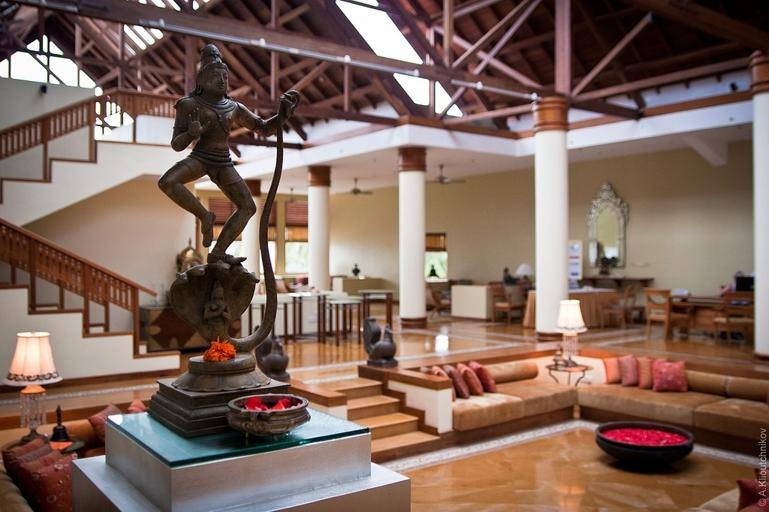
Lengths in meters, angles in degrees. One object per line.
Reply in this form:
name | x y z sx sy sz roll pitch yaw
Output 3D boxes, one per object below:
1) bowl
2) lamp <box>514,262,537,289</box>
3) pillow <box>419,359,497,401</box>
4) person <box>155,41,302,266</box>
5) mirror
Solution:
bowl | 3.531 2.609 7.968 1.250 0.434 0.897 -3 1 7
lamp | 4.151 0.577 16.798 0.705 0.721 0.674 -4 5 -1
pillow | 1.326 1.949 9.193 0.710 0.208 0.691 0 5 -19
person | -1.314 -0.867 4.738 1.002 1.416 0.281 -3 2 -8
mirror | 6.165 -0.819 16.026 1.051 2.324 0.148 -1 2 43
